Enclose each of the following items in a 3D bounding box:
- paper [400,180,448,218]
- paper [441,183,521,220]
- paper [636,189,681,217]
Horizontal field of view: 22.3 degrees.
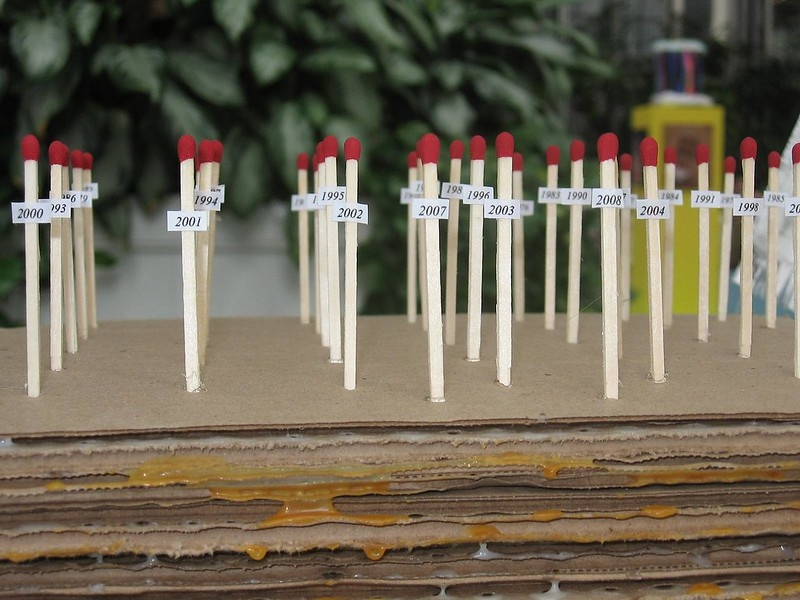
[{"bbox_3d":[0.112,-0.381,8.003,0.190,0.176,0.113,4,9,-5],"label":"paper"},{"bbox_3d":[0.353,-0.404,8.032,0.166,0.093,0.270,7,7,41],"label":"paper"},{"bbox_3d":[0.998,-0.391,8.099,0.167,0.061,0.161,0,9,-20],"label":"paper"}]
